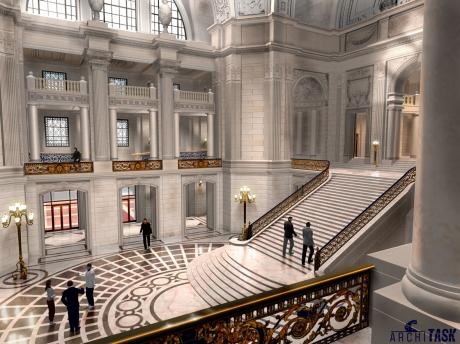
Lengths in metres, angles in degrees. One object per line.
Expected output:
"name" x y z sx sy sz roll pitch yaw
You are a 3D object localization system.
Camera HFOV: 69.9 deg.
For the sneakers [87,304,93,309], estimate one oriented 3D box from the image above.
"sneakers" -4.381 4.235 10.324 0.156 0.133 0.073 -3 8 -19
